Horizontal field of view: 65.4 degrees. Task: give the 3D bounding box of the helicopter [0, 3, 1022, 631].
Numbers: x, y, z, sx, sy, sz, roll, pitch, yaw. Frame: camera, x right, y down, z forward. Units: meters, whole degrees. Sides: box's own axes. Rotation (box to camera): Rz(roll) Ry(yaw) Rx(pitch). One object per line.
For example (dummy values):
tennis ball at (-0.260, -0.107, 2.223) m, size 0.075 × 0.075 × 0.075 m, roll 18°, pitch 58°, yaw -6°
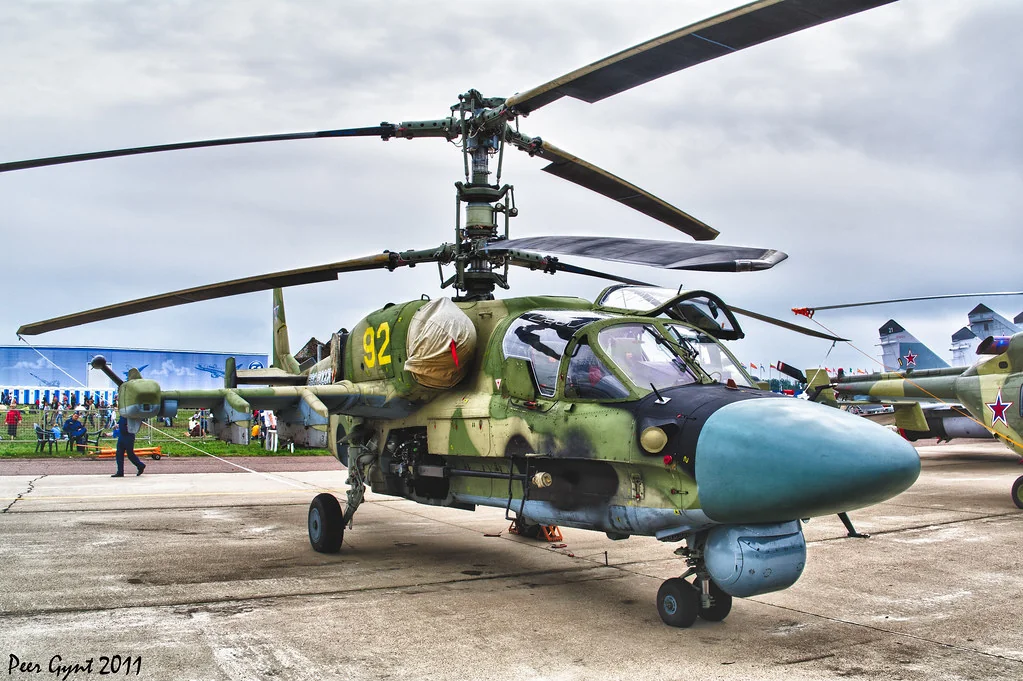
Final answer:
helicopter at (-0.560, -0.093, 10.936) m, size 10.496 × 2.994 × 9.288 m, roll -1°, pitch 1°, yaw -30°
